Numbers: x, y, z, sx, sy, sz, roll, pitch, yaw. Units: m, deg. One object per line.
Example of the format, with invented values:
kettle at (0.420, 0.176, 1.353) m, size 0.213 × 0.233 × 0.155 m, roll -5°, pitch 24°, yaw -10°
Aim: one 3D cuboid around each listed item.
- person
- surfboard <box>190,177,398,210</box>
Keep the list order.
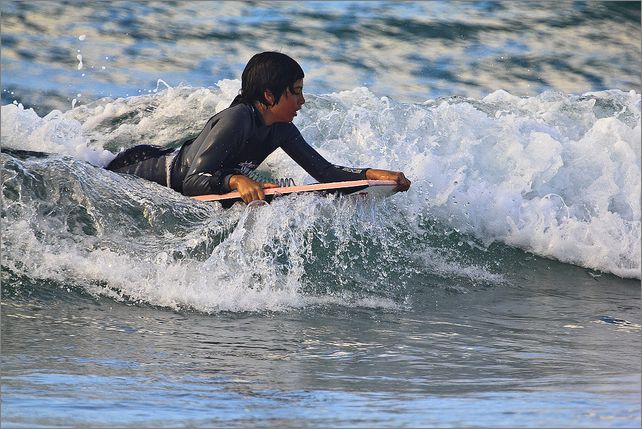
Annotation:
person at (-1.145, -0.699, 9.223) m, size 4.324 × 1.244 × 1.069 m, roll -1°, pitch 13°, yaw 31°
surfboard at (-0.018, -0.227, 8.842) m, size 2.252 × 0.162 × 0.494 m, roll -4°, pitch -5°, yaw -12°
